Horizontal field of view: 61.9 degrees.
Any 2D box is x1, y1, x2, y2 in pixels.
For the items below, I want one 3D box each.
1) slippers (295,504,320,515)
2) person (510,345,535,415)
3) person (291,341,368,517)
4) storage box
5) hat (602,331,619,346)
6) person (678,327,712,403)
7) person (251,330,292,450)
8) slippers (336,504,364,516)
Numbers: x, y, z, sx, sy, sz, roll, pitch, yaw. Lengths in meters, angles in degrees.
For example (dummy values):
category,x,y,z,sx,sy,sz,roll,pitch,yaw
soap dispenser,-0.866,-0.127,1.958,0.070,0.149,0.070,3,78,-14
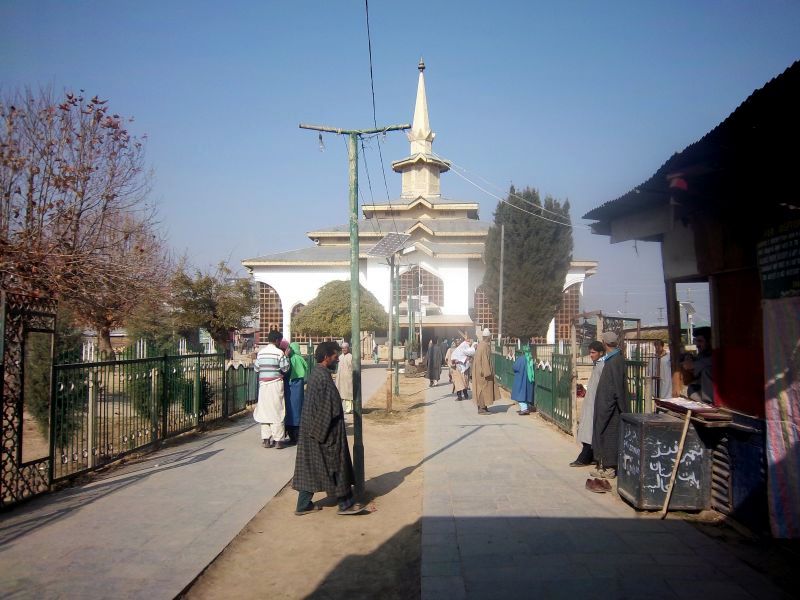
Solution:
category,x,y,z,sx,sy,sz,roll,pitch,yaw
slippers,-1.201,2.753,8.819,0.281,0.157,0.121,-3,1,-19
person,3.225,2.068,17.543,0.569,1.759,1.661,0,0,9
person,-0.968,1.681,8.713,0.849,2.272,0.651,-1,1,-44
storage box,3.340,2.025,8.705,0.757,1.202,1.063,-2,2,9
hat,3.203,0.558,10.211,0.162,0.244,0.222,1,12,10
person,4.318,0.885,9.798,0.381,1.015,2.019,0,0,23
person,-2.350,1.637,12.331,0.621,2.183,0.695,-1,1,-22
slippers,-0.642,2.718,8.781,0.321,0.191,0.156,-2,-5,-2
